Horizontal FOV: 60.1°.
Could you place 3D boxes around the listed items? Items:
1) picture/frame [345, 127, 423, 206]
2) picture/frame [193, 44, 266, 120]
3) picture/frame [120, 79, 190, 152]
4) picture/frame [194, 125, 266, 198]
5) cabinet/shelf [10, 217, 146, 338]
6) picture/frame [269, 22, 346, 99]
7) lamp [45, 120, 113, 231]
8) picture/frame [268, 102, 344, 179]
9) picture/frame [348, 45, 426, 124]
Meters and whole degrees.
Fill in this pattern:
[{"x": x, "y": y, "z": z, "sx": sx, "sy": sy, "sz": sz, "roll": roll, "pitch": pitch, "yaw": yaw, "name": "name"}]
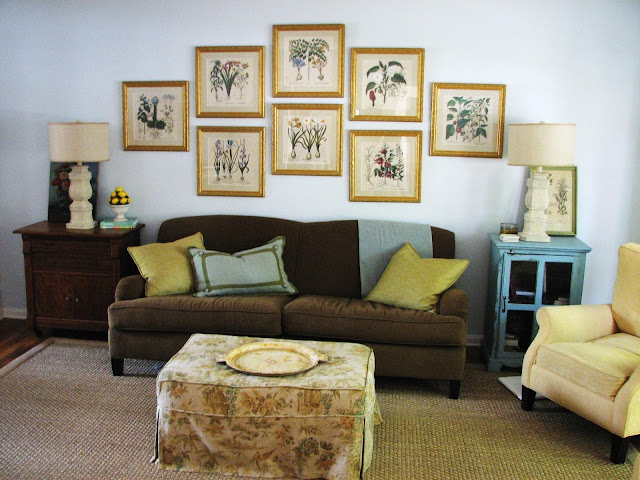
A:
[{"x": 0.555, "y": -0.637, "z": 4.622, "sx": 0.621, "sy": 0.654, "sz": 0.044, "roll": 0, "pitch": 8, "yaw": 1, "name": "picture/frame"}, {"x": -0.746, "y": -1.358, "z": 4.669, "sx": 0.586, "sy": 0.612, "sz": 0.042, "roll": 1, "pitch": 8, "yaw": 1, "name": "picture/frame"}, {"x": -1.396, "y": -1.091, "z": 4.762, "sx": 0.583, "sy": 0.616, "sz": 0.041, "roll": 1, "pitch": 8, "yaw": 0, "name": "picture/frame"}, {"x": -0.751, "y": -0.699, "z": 4.745, "sx": 0.587, "sy": 0.611, "sz": 0.045, "roll": 1, "pitch": 7, "yaw": 1, "name": "picture/frame"}, {"x": -1.891, "y": 0.215, "z": 4.840, "sx": 1.182, "sy": 1.179, "sz": 0.761, "roll": 2, "pitch": 7, "yaw": 5, "name": "cabinet/shelf"}, {"x": -0.082, "y": -1.511, "z": 4.581, "sx": 0.587, "sy": 0.583, "sz": 0.041, "roll": 2, "pitch": 8, "yaw": 0, "name": "picture/frame"}, {"x": -2.016, "y": -0.538, "z": 4.641, "sx": 0.433, "sy": 0.874, "sz": 0.351, "roll": 7, "pitch": 13, "yaw": 32, "name": "lamp"}, {"x": -0.093, "y": -0.860, "z": 4.662, "sx": 0.607, "sy": 0.639, "sz": 0.043, "roll": 1, "pitch": 9, "yaw": 2, "name": "picture/frame"}, {"x": 0.569, "y": -1.303, "z": 4.545, "sx": 0.594, "sy": 0.593, "sz": 0.043, "roll": 2, "pitch": 10, "yaw": 2, "name": "picture/frame"}]
